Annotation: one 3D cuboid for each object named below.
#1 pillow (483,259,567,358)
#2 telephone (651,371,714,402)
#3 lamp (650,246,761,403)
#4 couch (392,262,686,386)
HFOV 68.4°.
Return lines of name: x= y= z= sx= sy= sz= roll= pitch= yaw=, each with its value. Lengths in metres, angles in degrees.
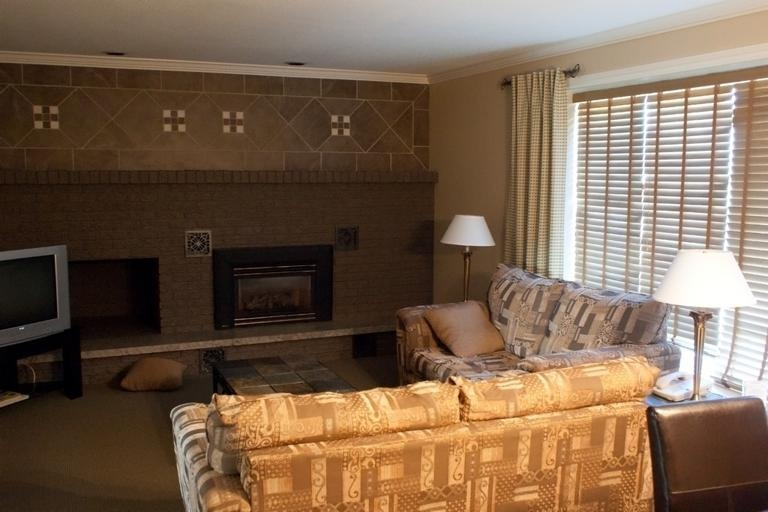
pillow: x=1.182 y=0.493 z=4.779 sx=0.269 sy=0.637 sz=0.686 roll=12 pitch=-3 yaw=-43
telephone: x=1.953 y=0.863 z=3.719 sx=0.328 sy=0.080 sz=0.243 roll=-7 pitch=10 yaw=-24
lamp: x=1.924 y=0.444 z=3.484 sx=0.467 sy=0.972 sz=0.408 roll=-3 pitch=7 yaw=-13
couch: x=1.249 y=0.540 z=4.387 sx=0.673 sy=0.618 sz=1.281 roll=2 pitch=1 yaw=-30
